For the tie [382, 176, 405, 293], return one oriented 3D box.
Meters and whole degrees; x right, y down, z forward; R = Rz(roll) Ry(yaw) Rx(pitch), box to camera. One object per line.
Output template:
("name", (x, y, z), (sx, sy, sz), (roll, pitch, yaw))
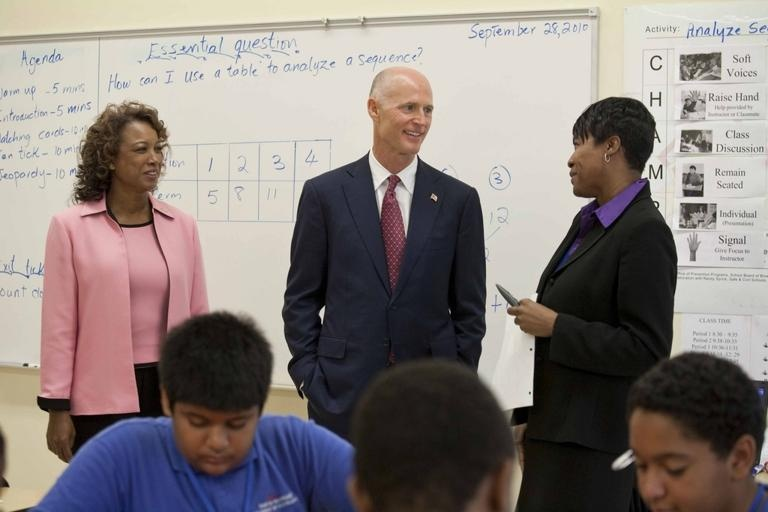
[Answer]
("tie", (0.033, -0.084, 2.964), (0.073, 0.432, 0.045), (2, -8, -1))
